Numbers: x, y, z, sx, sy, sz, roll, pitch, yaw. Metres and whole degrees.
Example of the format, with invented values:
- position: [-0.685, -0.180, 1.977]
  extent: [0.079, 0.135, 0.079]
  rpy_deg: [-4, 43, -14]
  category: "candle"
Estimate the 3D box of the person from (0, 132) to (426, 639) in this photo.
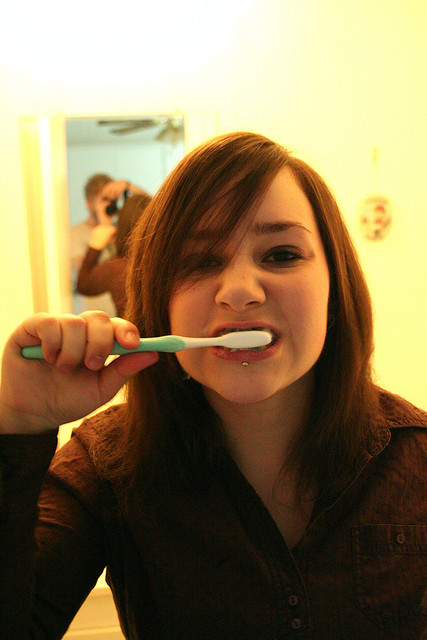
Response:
- position: [0.024, 0.097, 0.865]
  extent: [0.596, 0.716, 0.336]
  rpy_deg: [0, 10, -12]
  category: "person"

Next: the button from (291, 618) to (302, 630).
- position: [0.104, 0.387, 0.769]
  extent: [0.014, 0.014, 0.005]
  rpy_deg: [2, 5, 2]
  category: "button"

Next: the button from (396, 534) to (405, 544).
- position: [0.257, 0.302, 0.834]
  extent: [0.009, 0.012, 0.004]
  rpy_deg: [37, 31, -26]
  category: "button"

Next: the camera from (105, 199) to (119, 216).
- position: [-0.259, -0.284, 1.535]
  extent: [0.013, 0.039, 0.025]
  rpy_deg: [20, 40, -34]
  category: "camera"

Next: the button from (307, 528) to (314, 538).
- position: [0.129, 0.285, 0.809]
  extent: [0.003, 0.010, 0.011]
  rpy_deg: [11, 1, 24]
  category: "button"

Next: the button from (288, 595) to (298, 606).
- position: [0.101, 0.359, 0.774]
  extent: [0.012, 0.013, 0.004]
  rpy_deg: [1, 10, -5]
  category: "button"

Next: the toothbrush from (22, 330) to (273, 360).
- position: [-0.074, 0.030, 0.725]
  extent: [0.304, 0.041, 0.064]
  rpy_deg: [0, 9, -10]
  category: "toothbrush"
